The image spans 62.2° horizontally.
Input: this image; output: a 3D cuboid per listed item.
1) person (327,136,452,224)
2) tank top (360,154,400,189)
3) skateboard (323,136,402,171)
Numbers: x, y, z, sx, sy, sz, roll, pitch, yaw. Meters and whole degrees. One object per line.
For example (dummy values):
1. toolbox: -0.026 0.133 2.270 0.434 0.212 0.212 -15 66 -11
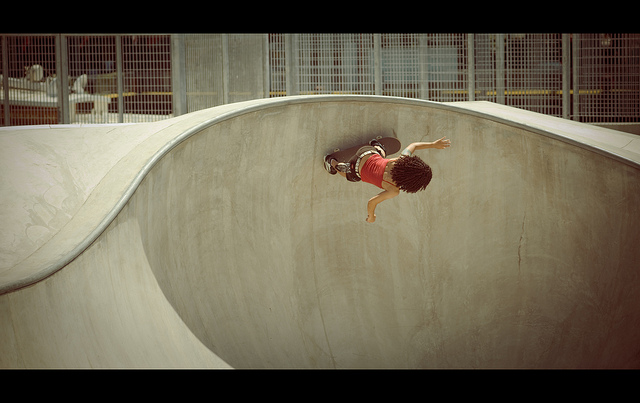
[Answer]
1. person: 0.754 -0.216 5.680 0.834 0.541 1.332 -17 -21 -9
2. tank top: 0.585 -0.395 5.253 0.336 0.251 0.425 34 -17 26
3. skateboard: 0.478 -0.524 5.613 0.980 0.267 0.152 -20 7 -9
